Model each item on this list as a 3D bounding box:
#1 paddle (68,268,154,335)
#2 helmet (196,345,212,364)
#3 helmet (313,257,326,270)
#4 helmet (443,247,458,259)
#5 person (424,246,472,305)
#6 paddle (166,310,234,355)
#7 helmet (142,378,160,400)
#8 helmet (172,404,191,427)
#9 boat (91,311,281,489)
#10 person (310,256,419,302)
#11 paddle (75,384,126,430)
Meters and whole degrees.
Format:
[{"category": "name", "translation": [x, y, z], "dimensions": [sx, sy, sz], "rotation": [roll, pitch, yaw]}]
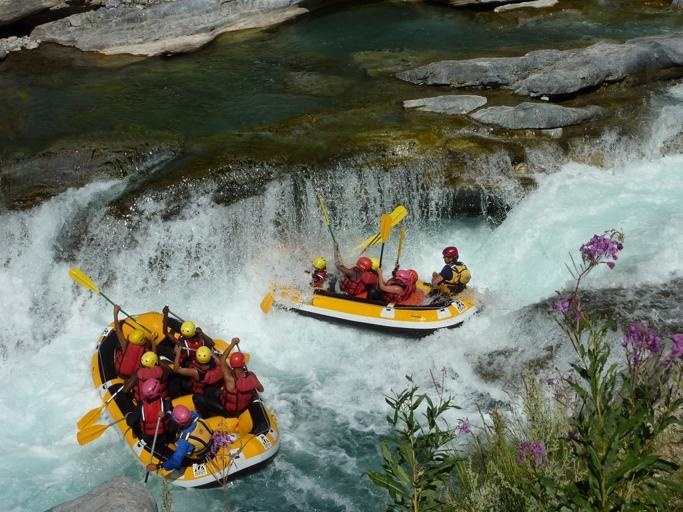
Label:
[{"category": "paddle", "translation": [-5.456, 1.089, 15.210], "dimensions": [2.183, 0.045, 0.310], "rotation": [37, 64, -3]}, {"category": "helmet", "translation": [-2.650, 1.901, 12.654], "dimensions": [0.317, 0.301, 0.245], "rotation": [-4, 15, 3]}, {"category": "helmet", "translation": [-0.503, 0.180, 15.544], "dimensions": [0.348, 0.280, 0.234], "rotation": [4, 39, -24]}, {"category": "helmet", "translation": [2.432, -0.092, 14.792], "dimensions": [0.324, 0.251, 0.230], "rotation": [22, 35, 22]}, {"category": "person", "translation": [2.463, 0.500, 15.238], "dimensions": [0.652, 1.153, 0.878], "rotation": [-38, 58, -24]}, {"category": "paddle", "translation": [-3.072, 1.681, 14.121], "dimensions": [1.179, 0.376, 0.351], "rotation": [32, 29, 7]}, {"category": "helmet", "translation": [-3.487, 2.395, 11.918], "dimensions": [0.342, 0.334, 0.270], "rotation": [-22, 33, -23]}, {"category": "helmet", "translation": [-2.859, 2.822, 11.693], "dimensions": [0.310, 0.385, 0.272], "rotation": [-18, 32, -17]}, {"category": "boat", "translation": [-2.854, 3.067, 13.573], "dimensions": [4.353, 0.954, 4.853], "rotation": [-13, 26, -23]}, {"category": "person", "translation": [0.668, 0.561, 15.058], "dimensions": [1.885, 0.705, 0.888], "rotation": [10, 34, 14]}, {"category": "paddle", "translation": [-4.725, 2.988, 12.872], "dimensions": [0.282, 0.054, 1.358], "rotation": [43, 17, 6]}]
